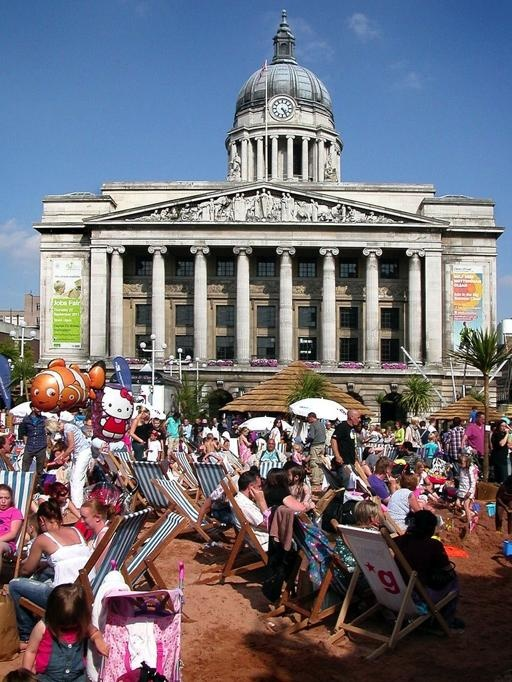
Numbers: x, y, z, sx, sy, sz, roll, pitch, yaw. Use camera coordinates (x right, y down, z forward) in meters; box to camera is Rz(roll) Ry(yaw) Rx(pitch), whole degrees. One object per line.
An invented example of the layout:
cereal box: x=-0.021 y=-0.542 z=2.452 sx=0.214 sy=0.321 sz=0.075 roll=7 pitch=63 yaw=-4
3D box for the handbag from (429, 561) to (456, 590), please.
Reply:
handbag: x=1.833 y=2.320 z=8.565 sx=0.239 sy=0.235 sz=0.131 roll=9 pitch=-13 yaw=-6

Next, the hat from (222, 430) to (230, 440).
hat: x=-0.987 y=3.110 z=28.759 sx=0.391 sy=0.381 sz=0.393 roll=1 pitch=-13 yaw=-1
